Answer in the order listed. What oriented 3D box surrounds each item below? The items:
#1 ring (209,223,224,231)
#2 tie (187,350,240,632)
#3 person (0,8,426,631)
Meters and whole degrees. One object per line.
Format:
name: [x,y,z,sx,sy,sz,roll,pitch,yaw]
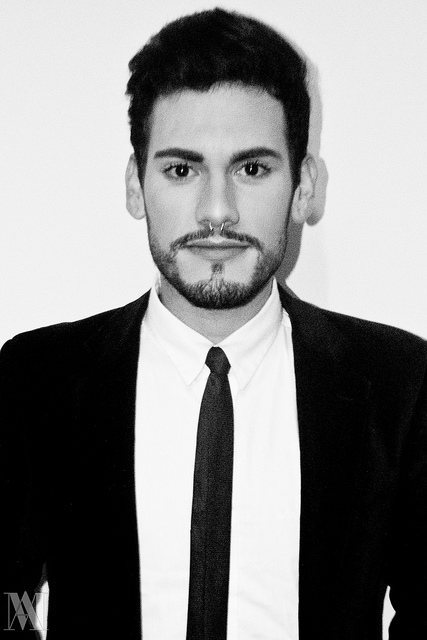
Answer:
ring: [0.007,-0.226,1.724,0.035,0.012,0.011,3,-16,7]
tie: [-0.002,0.388,1.710,0.091,0.664,0.125,1,-13,5]
person: [0.007,-0.017,1.885,0.921,2.285,0.513,0,-5,-3]
